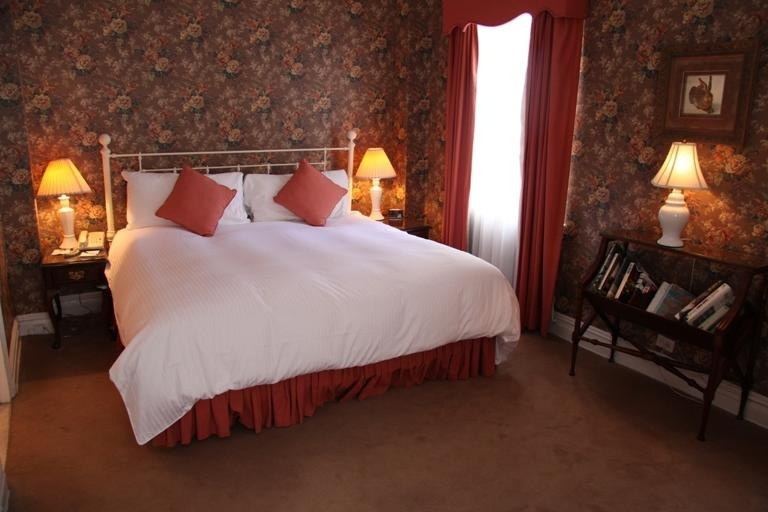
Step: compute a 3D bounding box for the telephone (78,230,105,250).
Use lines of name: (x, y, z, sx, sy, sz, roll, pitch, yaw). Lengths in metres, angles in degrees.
telephone: (-2.893, -0.150, 5.386, 0.216, 0.058, 0.240, -4, 39, -12)

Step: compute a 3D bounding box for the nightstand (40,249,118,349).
nightstand: (-3.030, 0.361, 5.400, 0.605, 0.886, 0.638, -7, 24, -32)

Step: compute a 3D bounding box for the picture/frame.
picture/frame: (2.597, -1.290, 4.344, 0.065, 0.794, 0.743, -9, 17, -38)

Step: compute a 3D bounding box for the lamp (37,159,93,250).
lamp: (-3.087, -0.497, 5.271, 0.431, 0.876, 0.455, -6, 14, -32)

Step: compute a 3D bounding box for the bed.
bed: (-0.775, 0.545, 4.844, 3.274, 1.374, 1.912, -1, 12, -15)
